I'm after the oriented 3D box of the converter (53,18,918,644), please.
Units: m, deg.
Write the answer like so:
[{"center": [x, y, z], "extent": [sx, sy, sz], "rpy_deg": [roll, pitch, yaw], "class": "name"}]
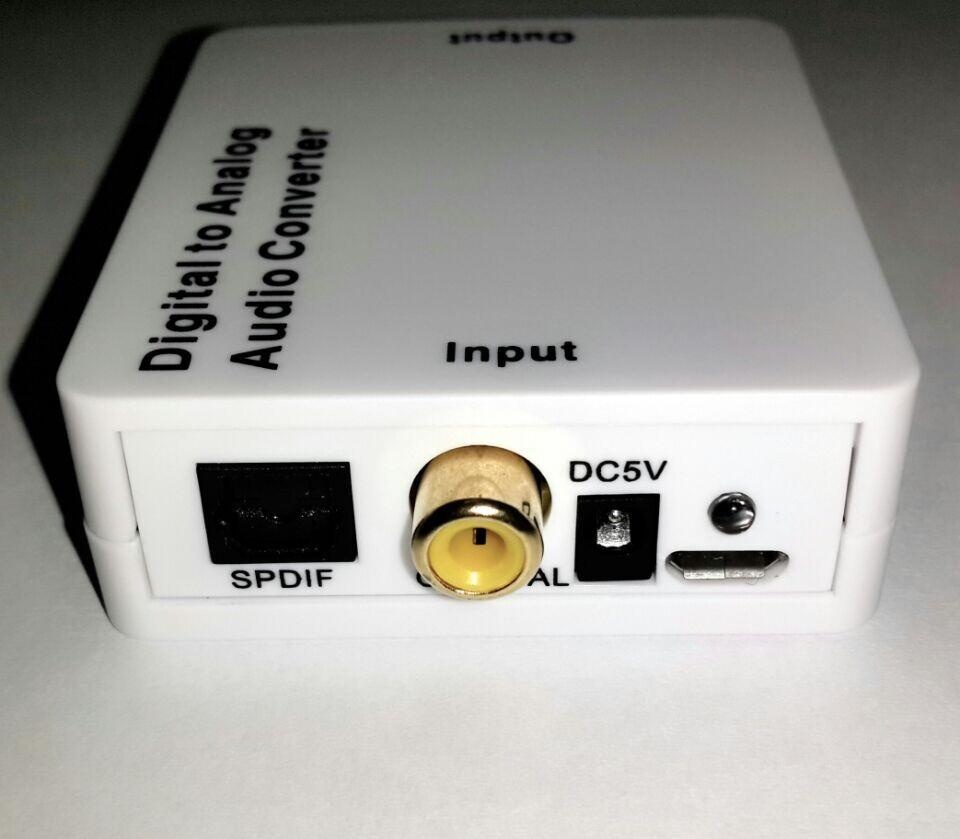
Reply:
[{"center": [0.017, -0.090, 0.663], "extent": [0.472, 0.175, 0.522], "rpy_deg": [-3, 40, 0], "class": "converter"}]
